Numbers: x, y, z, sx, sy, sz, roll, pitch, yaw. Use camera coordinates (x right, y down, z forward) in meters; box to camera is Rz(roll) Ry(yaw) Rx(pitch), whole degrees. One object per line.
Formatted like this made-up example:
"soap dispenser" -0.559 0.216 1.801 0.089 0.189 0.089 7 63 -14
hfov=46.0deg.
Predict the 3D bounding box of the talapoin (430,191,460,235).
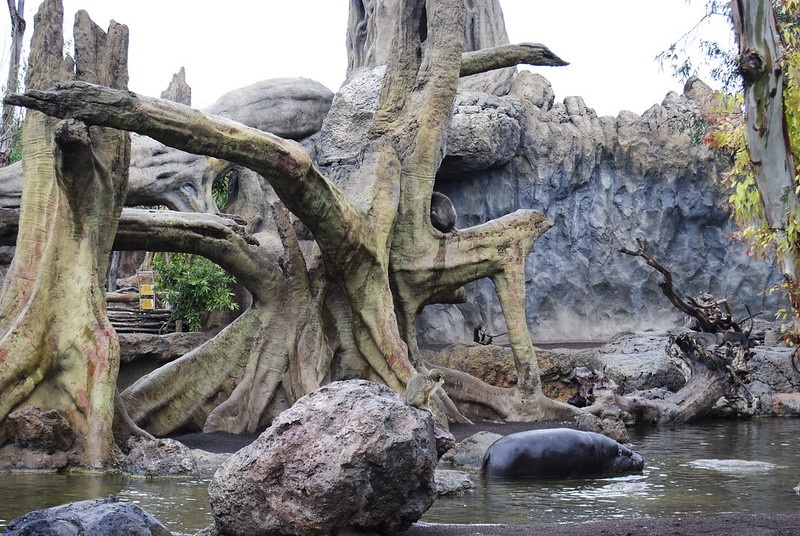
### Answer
"talapoin" 0.898 -1.251 20.765 0.461 0.905 0.564 -18 -4 38
